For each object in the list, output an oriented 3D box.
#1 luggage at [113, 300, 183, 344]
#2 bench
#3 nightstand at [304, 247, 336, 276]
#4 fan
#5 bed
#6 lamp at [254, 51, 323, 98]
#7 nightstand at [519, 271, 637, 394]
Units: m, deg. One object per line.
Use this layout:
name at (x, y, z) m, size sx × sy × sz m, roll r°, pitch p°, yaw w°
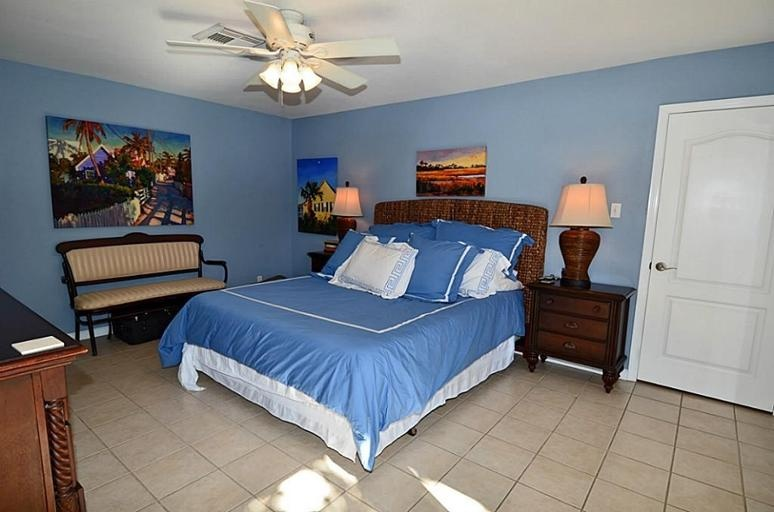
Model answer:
luggage at (-2.789, 0.608, 5.419) m, size 0.472 × 0.331 × 0.712 m, roll 4°, pitch 7°, yaw 36°
bench at (-2.775, 0.419, 5.200) m, size 0.601 × 0.981 × 1.377 m, roll 7°, pitch 11°, yaw 41°
nightstand at (-0.911, 0.043, 6.427) m, size 0.467 × 0.474 × 0.350 m, roll 4°, pitch 4°, yaw 43°
fan at (-0.734, -1.675, 3.934) m, size 1.196 × 0.450 × 1.163 m, roll 6°, pitch -5°, yaw -38°
bed at (-0.240, 0.469, 5.070) m, size 2.477 × 1.679 × 3.111 m, roll 11°, pitch 12°, yaw 35°
lamp at (-0.809, -1.519, 4.123) m, size 0.398 × 0.152 × 0.389 m, roll 4°, pitch 10°, yaw 7°
nightstand at (1.968, 0.784, 4.911) m, size 0.949 × 0.912 × 0.578 m, roll 7°, pitch 7°, yaw 40°
